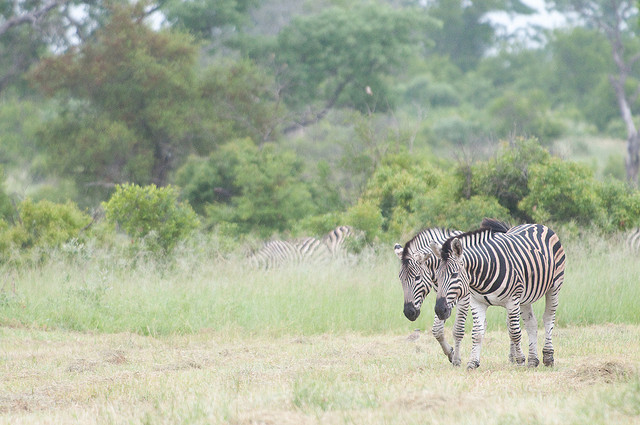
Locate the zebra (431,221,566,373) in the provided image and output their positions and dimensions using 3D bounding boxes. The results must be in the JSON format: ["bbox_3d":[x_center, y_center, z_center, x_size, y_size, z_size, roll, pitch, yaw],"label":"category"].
[{"bbox_3d":[7.837,3.686,56.762,7.397,6.494,2.657,-5,6,-38],"label":"zebra"}]

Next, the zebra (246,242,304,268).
[{"bbox_3d":[-2.063,1.894,62.537,2.371,1.144,1.294,-3,-3,0],"label":"zebra"}]
